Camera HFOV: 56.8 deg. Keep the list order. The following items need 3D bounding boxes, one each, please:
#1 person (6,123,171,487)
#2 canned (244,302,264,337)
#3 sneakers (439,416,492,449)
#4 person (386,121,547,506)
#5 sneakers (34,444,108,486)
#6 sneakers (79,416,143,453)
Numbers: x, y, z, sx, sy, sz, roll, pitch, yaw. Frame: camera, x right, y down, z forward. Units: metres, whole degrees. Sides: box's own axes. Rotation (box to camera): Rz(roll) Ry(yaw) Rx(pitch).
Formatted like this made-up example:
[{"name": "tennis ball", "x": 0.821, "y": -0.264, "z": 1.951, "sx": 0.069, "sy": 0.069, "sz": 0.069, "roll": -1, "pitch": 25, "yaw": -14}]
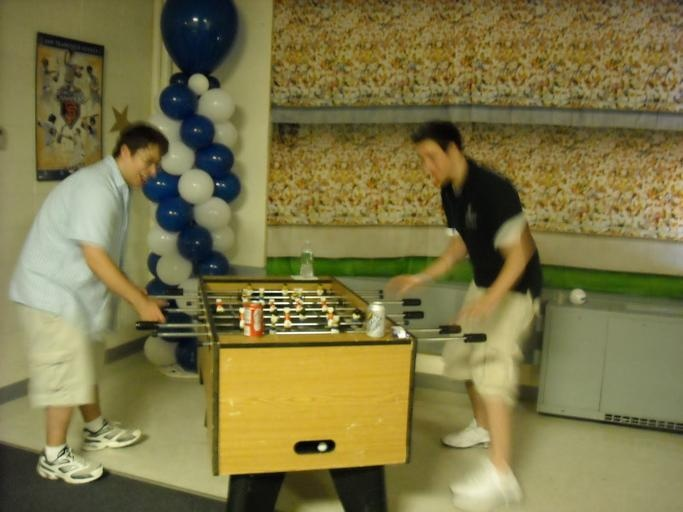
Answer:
[{"name": "person", "x": -1.410, "y": 0.263, "z": 3.488, "sx": 0.816, "sy": 1.975, "sz": 0.441, "roll": 0, "pitch": 10, "yaw": -10}, {"name": "canned", "x": -0.407, "y": 0.298, "z": 3.017, "sx": 0.118, "sy": 0.203, "sz": 0.127, "roll": -1, "pitch": 3, "yaw": -3}, {"name": "sneakers", "x": 0.805, "y": 1.154, "z": 4.118, "sx": 0.355, "sy": 0.168, "sz": 0.137, "roll": -1, "pitch": 1, "yaw": -3}, {"name": "person", "x": 0.764, "y": 0.306, "z": 3.632, "sx": 0.753, "sy": 2.102, "sz": 0.754, "roll": -4, "pitch": 12, "yaw": -31}, {"name": "sneakers", "x": -1.518, "y": 1.183, "z": 3.620, "sx": 0.375, "sy": 0.205, "sz": 0.169, "roll": 6, "pitch": 1, "yaw": -6}, {"name": "sneakers", "x": -1.420, "y": 1.101, "z": 3.914, "sx": 0.355, "sy": 0.190, "sz": 0.156, "roll": 0, "pitch": 0, "yaw": -13}]
